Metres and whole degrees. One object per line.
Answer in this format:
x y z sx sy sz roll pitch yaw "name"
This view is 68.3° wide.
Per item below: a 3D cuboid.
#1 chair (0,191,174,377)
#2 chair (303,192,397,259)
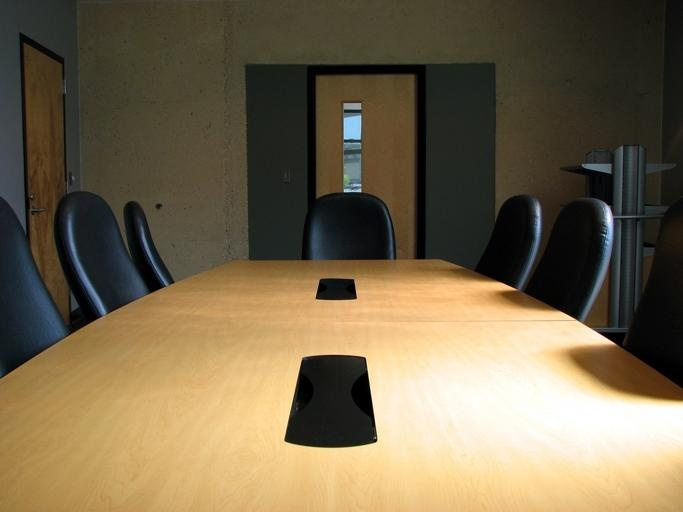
-0.936 0.042 2.058 0.498 0.655 0.429 -10 -2 29 "chair"
0.072 -0.142 3.361 0.409 0.642 0.502 -1 -2 1 "chair"
